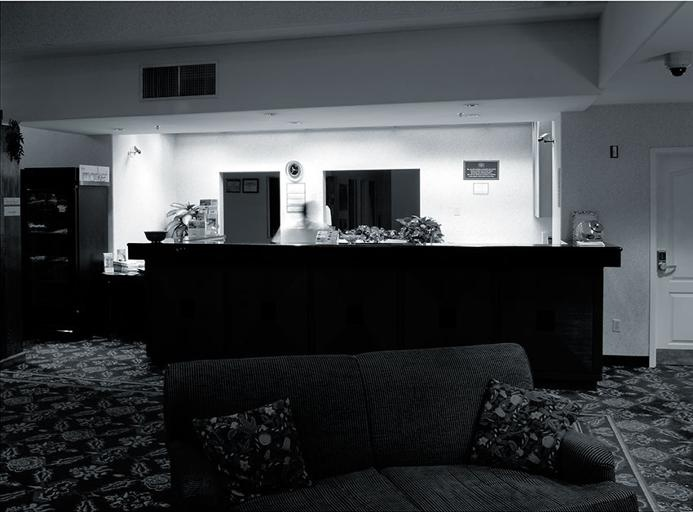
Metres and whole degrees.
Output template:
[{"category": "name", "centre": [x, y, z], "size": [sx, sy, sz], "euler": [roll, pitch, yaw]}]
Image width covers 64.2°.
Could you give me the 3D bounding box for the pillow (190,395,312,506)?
[{"category": "pillow", "centre": [-0.517, 1.089, 3.043], "size": [0.569, 0.437, 0.239], "euler": [-3, 8, -23]}]

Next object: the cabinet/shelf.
[{"category": "cabinet/shelf", "centre": [-3.905, -0.047, 7.563], "size": [1.083, 2.324, 0.501], "euler": [0, 7, 0]}]

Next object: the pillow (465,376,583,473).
[{"category": "pillow", "centre": [1.019, 0.982, 3.231], "size": [0.514, 0.471, 0.154], "euler": [6, -16, 13]}]
